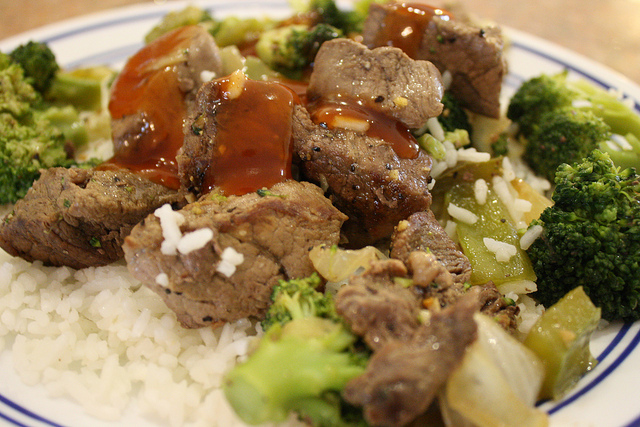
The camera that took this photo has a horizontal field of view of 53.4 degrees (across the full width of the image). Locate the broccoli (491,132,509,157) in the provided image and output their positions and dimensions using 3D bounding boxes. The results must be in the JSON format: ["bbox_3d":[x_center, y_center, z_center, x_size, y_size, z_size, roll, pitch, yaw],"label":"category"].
[{"bbox_3d":[1.605,-0.622,5.690,0.051,0.195,0.205,7,90,38],"label":"broccoli"}]

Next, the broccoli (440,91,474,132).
[{"bbox_3d":[1.178,-0.866,5.575,0.373,0.120,0.280,49,54,-24],"label":"broccoli"}]
